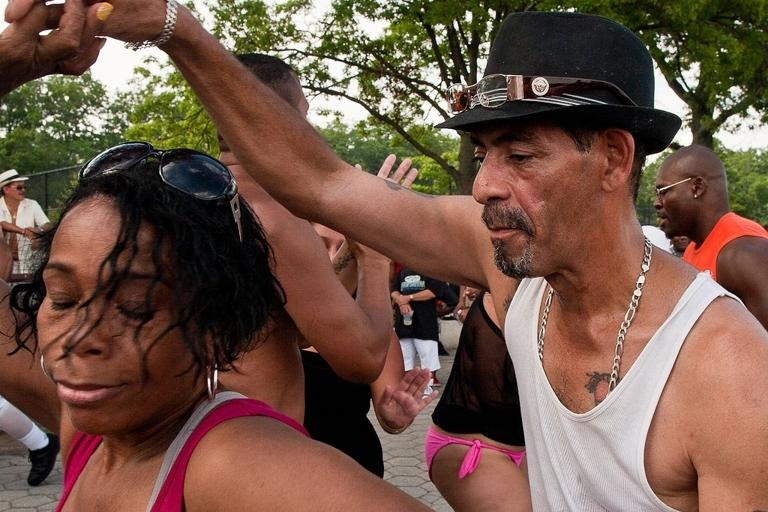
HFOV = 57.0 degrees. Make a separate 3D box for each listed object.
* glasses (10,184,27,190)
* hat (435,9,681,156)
[{"bbox_3d":[-5.996,-1.140,11.506,0.155,0.049,0.154,-2,1,33],"label":"glasses"},{"bbox_3d":[0.639,-0.643,2.593,0.884,0.394,0.704,3,6,-5],"label":"hat"}]
